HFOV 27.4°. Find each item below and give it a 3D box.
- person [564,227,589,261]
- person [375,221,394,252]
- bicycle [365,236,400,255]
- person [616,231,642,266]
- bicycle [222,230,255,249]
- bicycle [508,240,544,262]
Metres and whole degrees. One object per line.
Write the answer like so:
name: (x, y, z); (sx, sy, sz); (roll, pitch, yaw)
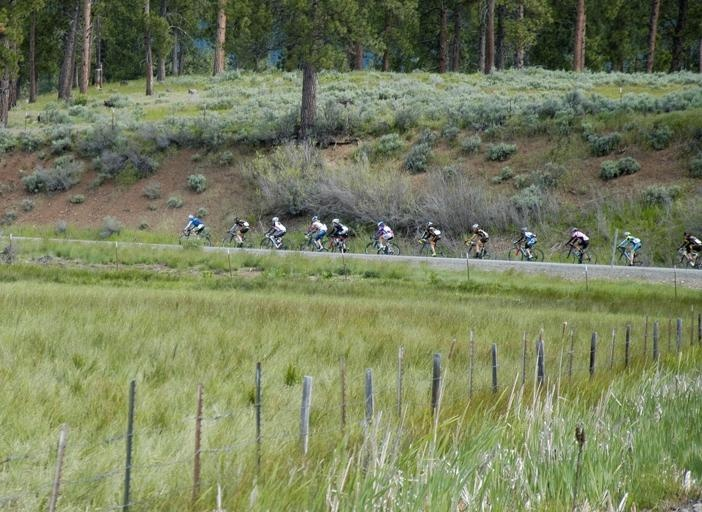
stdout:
person: (14.824, -0.633, 94.854); (1.292, 2.936, 0.961); (-2, 19, 14)
person: (2.153, -1.250, 96.397); (1.246, 2.063, 0.881); (4, 10, 17)
bicycle: (2.080, -0.364, 96.946); (1.909, 1.514, 1.097); (7, 16, 24)
person: (18.183, -0.424, 94.545); (1.338, 2.858, 0.957); (3, 22, 19)
bicycle: (-7.827, -0.973, 99.651); (1.734, 1.540, 1.294); (6, 10, 11)
bicycle: (11.631, -0.174, 96.351); (2.213, 1.802, 1.138); (6, 13, 31)
